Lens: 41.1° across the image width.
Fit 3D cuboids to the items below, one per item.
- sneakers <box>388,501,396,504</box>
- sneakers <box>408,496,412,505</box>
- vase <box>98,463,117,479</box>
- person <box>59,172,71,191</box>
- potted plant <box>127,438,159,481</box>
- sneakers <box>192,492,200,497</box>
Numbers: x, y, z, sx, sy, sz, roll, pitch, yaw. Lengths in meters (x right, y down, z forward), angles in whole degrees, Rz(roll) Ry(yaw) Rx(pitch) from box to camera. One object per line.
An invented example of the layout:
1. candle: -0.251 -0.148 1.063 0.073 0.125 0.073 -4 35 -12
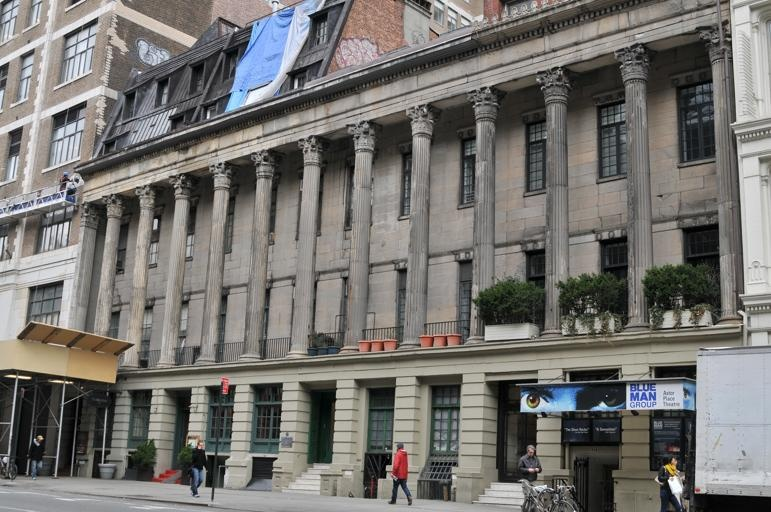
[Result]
1. sneakers: 0.293 10.958 45.926 0.372 0.148 0.121 0 -11 21
2. sneakers: 1.123 10.735 45.233 0.126 0.349 0.155 1 10 -3
3. vase: -16.879 13.077 62.738 0.888 0.632 0.868 14 -24 -32
4. person: -22.103 -5.137 71.200 0.589 1.562 1.207 3 -16 -18
5. potted plant: -14.580 12.164 61.321 1.113 2.354 2.639 8 -18 -35
6. sneakers: -9.115 11.519 49.786 0.447 0.177 0.151 -16 -19 38
